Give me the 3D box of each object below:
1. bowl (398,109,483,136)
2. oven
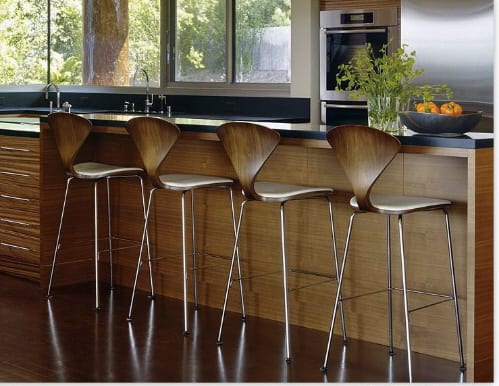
[{"bbox_3d":[0.992,-0.369,2.383,0.400,0.135,0.289,1,5,17],"label":"bowl"},{"bbox_3d":[1.175,-1.280,4.985,0.751,1.282,0.666,5,16,21],"label":"oven"}]
